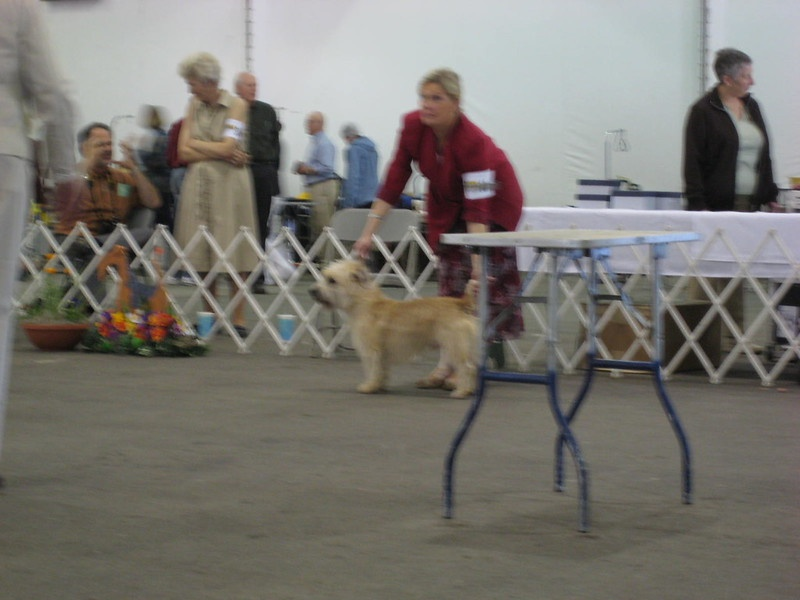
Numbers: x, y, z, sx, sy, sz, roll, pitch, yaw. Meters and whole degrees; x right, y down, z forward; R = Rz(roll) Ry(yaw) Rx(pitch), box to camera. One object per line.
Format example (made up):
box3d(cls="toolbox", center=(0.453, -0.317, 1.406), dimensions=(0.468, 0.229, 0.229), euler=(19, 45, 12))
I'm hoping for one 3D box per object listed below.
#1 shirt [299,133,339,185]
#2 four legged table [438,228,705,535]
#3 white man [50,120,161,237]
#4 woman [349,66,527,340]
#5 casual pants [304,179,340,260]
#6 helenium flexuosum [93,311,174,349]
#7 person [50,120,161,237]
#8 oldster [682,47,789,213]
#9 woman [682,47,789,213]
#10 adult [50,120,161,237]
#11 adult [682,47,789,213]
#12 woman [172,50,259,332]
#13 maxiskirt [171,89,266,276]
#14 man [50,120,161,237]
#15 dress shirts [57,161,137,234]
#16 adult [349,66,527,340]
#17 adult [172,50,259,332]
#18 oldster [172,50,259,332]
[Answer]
box3d(cls="shirt", center=(-0.870, -1.546, 12.537), dimensions=(0.424, 0.616, 0.679), euler=(-1, 10, -24))
box3d(cls="four legged table", center=(0.866, 0.236, 5.324), dimensions=(1.034, 1.207, 1.505), euler=(5, 12, 23))
box3d(cls="white man", center=(-2.186, -0.897, 8.839), dimensions=(0.501, 0.865, 0.805), euler=(2, 11, 11))
box3d(cls="woman", center=(0.338, -0.509, 6.730), dimensions=(0.892, 1.539, 0.935), euler=(-16, 24, -40))
box3d(cls="casual pants", center=(-0.738, -0.738, 10.837), dimensions=(0.293, 1.174, 0.284), euler=(-10, 44, -15))
box3d(cls="helenium flexuosum", center=(-1.846, 0.207, 8.219), dimensions=(0.346, 0.181, 0.353), euler=(-2, 0, 27))
box3d(cls="person", center=(-2.185, -0.897, 8.839), dimensions=(0.501, 0.865, 0.804), euler=(2, 11, 11))
box3d(cls="oldster", center=(2.211, -1.119, 7.844), dimensions=(0.740, 1.081, 0.364), euler=(-4, 12, -20))
box3d(cls="woman", center=(2.210, -1.119, 7.844), dimensions=(0.738, 1.081, 0.364), euler=(-4, 12, -20))
box3d(cls="adult", center=(-2.186, -0.897, 8.839), dimensions=(0.501, 0.865, 0.805), euler=(2, 11, 11))
box3d(cls="adult", center=(2.208, -1.118, 7.843), dimensions=(0.734, 1.081, 0.364), euler=(-4, 12, -20))
box3d(cls="woman", center=(-1.352, -0.713, 8.557), dimensions=(0.602, 2.127, 0.439), euler=(-3, 12, -12))
box3d(cls="maxiskirt", center=(-1.421, -0.846, 8.574), dimensions=(0.563, 1.408, 0.438), euler=(2, 38, -12))
box3d(cls="man", center=(-2.191, -0.896, 8.835), dimensions=(0.491, 0.865, 0.791), euler=(3, 11, 13))
box3d(cls="dress shirts", center=(-2.299, -0.684, 9.060), dimensions=(0.580, 0.653, 0.381), euler=(-3, -8, -13))
box3d(cls="adult", center=(0.206, -0.496, 6.717), dimensions=(0.991, 1.511, 0.964), euler=(3, 17, 10))
box3d(cls="adult", center=(-1.352, -0.713, 8.557), dimensions=(0.602, 2.127, 0.440), euler=(-3, 12, -12))
box3d(cls="oldster", center=(-1.356, -0.712, 8.557), dimensions=(0.602, 2.127, 0.432), euler=(-2, 12, -10))
